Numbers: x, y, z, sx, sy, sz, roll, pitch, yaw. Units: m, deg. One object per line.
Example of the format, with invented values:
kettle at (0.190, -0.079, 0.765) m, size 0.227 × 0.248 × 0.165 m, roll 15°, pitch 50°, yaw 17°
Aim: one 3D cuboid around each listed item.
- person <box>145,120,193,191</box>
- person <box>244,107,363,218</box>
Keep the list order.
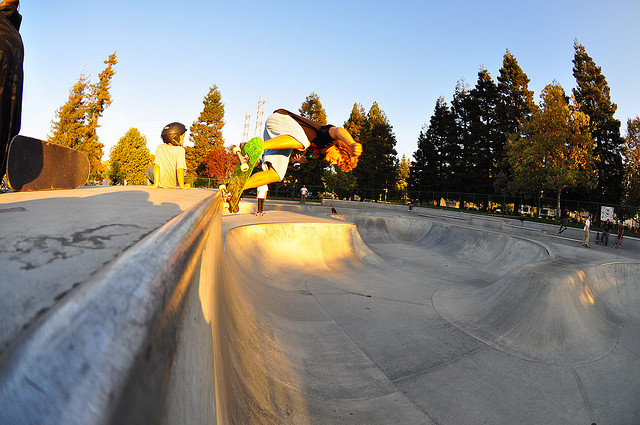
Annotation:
person at (-3.319, -1.288, 6.446) m, size 0.673 × 1.452 × 0.774 m, roll 0°, pitch 6°, yaw -29°
person at (-0.374, -1.150, 5.314) m, size 2.054 × 1.420 × 0.942 m, roll 1°, pitch 6°, yaw -26°
